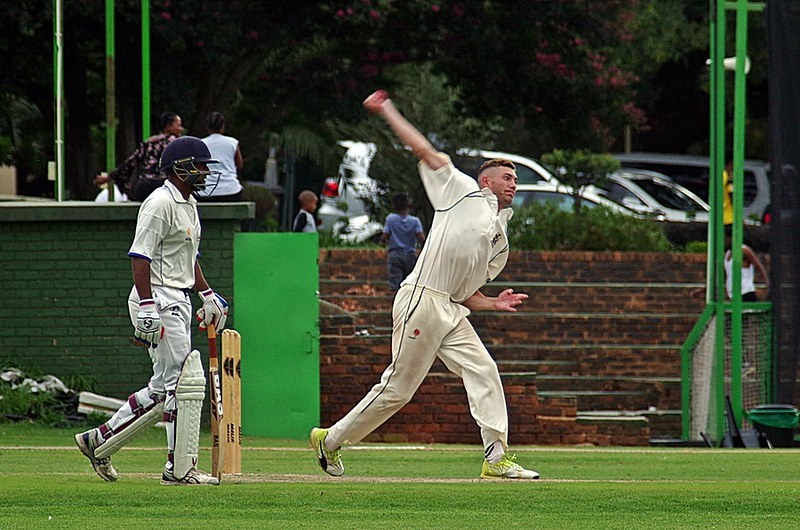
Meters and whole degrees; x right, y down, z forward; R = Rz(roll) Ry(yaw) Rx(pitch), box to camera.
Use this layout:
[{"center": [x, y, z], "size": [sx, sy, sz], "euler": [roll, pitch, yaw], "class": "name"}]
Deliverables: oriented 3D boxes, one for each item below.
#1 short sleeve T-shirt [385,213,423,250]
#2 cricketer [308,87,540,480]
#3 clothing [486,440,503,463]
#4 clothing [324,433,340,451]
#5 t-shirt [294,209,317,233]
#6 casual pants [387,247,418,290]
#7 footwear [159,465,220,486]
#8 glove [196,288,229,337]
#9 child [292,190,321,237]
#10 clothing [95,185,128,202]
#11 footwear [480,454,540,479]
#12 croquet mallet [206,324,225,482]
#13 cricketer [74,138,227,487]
[{"center": [0.128, -0.463, 26.779], "size": [0.592, 0.650, 0.376], "euler": [-4, -15, 22], "class": "short sleeve T-shirt"}, {"center": [0.391, 0.355, 21.726], "size": [2.785, 4.930, 1.252], "euler": [4, -10, -1], "class": "cricketer"}, {"center": [1.205, 2.359, 21.355], "size": [0.271, 0.294, 0.200], "euler": [-3, -3, 15], "class": "clothing"}, {"center": [-0.865, 2.225, 21.363], "size": [0.092, 0.120, 0.166], "euler": [9, -26, 38], "class": "clothing"}, {"center": [-1.552, -0.720, 27.819], "size": [0.236, 0.443, 0.432], "euler": [6, 5, 43], "class": "t-shirt"}, {"center": [0.051, -0.011, 26.759], "size": [0.421, 0.931, 0.317], "euler": [4, 40, 1], "class": "casual pants"}, {"center": [-2.611, 2.607, 21.092], "size": [0.745, 0.349, 0.277], "euler": [0, -6, 2], "class": "footwear"}, {"center": [-2.346, 0.567, 21.285], "size": [0.353, 0.200, 0.449], "euler": [25, 38, 7], "class": "glove"}, {"center": [-1.549, -0.861, 28.208], "size": [0.436, 1.107, 0.717], "euler": [-4, 9, -24], "class": "child"}, {"center": [-4.903, -1.179, 28.383], "size": [0.479, 0.142, 0.546], "euler": [-1, 6, 12], "class": "clothing"}, {"center": [1.392, 2.568, 21.544], "size": [0.802, 0.368, 0.307], "euler": [1, -4, 3], "class": "footwear"}, {"center": [-2.316, 1.760, 21.099], "size": [0.280, 1.784, 0.266], "euler": [1, -3, -9], "class": "croquet mallet"}, {"center": [-3.118, 0.397, 21.438], "size": [1.856, 4.691, 1.575], "euler": [-2, -3, 38], "class": "cricketer"}]
